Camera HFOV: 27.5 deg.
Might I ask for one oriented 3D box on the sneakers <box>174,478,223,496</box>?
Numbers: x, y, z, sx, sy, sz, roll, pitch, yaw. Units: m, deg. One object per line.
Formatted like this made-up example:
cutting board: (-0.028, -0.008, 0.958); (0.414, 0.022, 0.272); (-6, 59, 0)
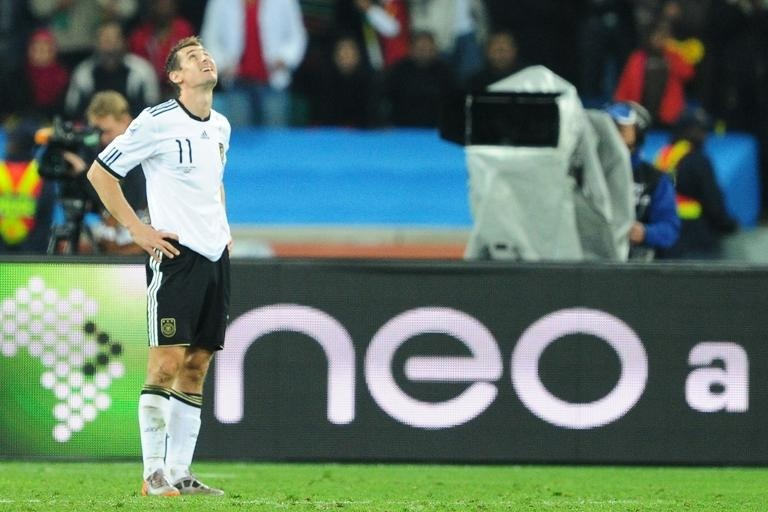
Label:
sneakers: (-1.294, 1.592, 10.829); (0.363, 0.143, 0.121); (3, -3, -5)

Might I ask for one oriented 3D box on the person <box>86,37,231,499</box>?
person: (-1.481, 0.083, 10.791); (0.870, 3.072, 0.695); (-2, 10, -7)

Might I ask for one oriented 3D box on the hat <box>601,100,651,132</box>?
hat: (1.811, -1.033, 11.764); (0.375, 0.198, 0.272); (-3, 10, -15)

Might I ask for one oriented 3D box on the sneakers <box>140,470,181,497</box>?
sneakers: (-1.536, 1.553, 10.748); (0.325, 0.138, 0.115); (8, 28, 45)
